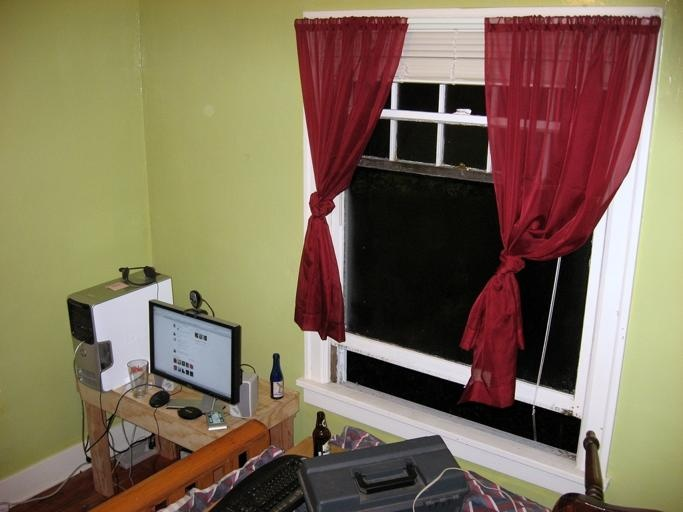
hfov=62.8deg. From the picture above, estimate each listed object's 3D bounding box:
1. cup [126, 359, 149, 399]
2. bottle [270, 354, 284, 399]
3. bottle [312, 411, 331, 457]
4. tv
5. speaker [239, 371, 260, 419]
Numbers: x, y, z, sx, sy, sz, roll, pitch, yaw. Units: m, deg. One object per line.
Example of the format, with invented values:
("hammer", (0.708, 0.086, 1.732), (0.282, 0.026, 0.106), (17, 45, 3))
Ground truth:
("cup", (-1.260, 0.766, 3.457), (0.128, 0.218, 0.140), (-7, -17, -2))
("bottle", (-0.390, 0.698, 3.389), (0.091, 0.270, 0.182), (1, 15, -6))
("bottle", (-0.103, 0.915, 2.936), (0.086, 0.259, 0.251), (3, 15, -1))
("tv", (-0.862, 0.602, 3.208), (0.517, 0.402, 0.070), (16, 18, 27))
("speaker", (-0.531, 0.777, 3.201), (0.089, 0.250, 0.160), (3, 15, 0))
